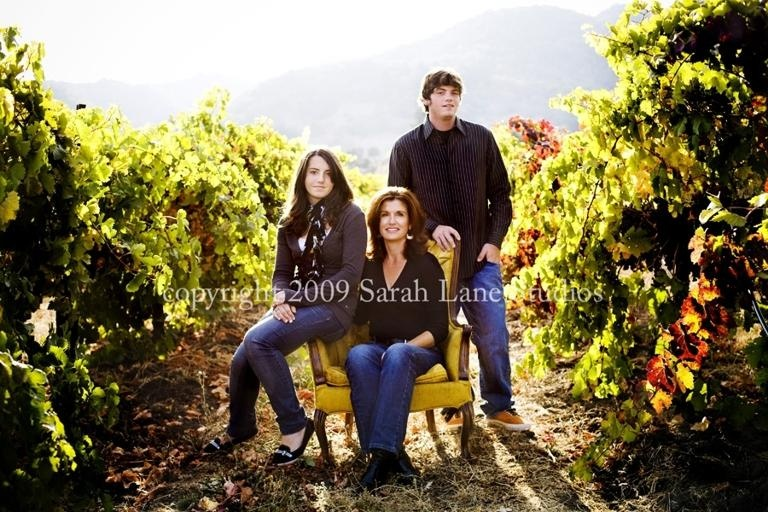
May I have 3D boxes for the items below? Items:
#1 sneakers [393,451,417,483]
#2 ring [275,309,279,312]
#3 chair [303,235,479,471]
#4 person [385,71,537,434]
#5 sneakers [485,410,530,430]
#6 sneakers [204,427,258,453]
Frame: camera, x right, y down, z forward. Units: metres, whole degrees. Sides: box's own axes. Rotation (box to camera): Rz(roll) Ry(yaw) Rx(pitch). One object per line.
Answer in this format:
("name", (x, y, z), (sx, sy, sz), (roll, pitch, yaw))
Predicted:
("sneakers", (0.137, 1.440, 4.238), (0.107, 0.192, 0.070), (-16, -5, -3))
("ring", (-0.776, 0.389, 4.432), (0.023, 0.024, 0.007), (-2, -5, 20))
("chair", (0.106, 0.633, 4.741), (1.190, 1.764, 1.020), (-2, 1, 12))
("person", (0.549, -0.002, 4.836), (1.051, 2.937, 0.966), (0, 12, 22))
("sneakers", (0.956, 1.245, 4.815), (0.308, 0.144, 0.137), (0, 2, 32))
("sneakers", (-1.154, 1.365, 4.597), (0.403, 0.172, 0.138), (-5, 5, -27))
